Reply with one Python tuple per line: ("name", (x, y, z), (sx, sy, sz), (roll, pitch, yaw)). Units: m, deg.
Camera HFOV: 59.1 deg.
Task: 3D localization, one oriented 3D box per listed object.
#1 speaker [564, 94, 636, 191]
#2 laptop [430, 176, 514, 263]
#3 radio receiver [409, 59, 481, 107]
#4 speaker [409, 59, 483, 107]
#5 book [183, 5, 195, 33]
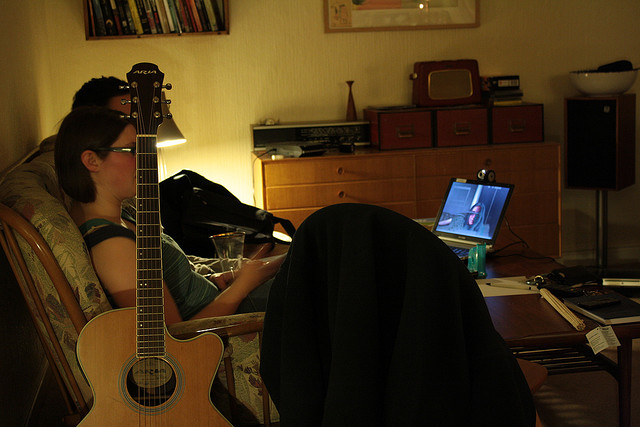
("speaker", (2.106, -0.520, 4.149), (0.554, 0.686, 0.214), (-5, 12, -3))
("laptop", (0.689, -0.003, 2.866), (0.507, 0.349, 0.514), (7, 7, -11))
("radio receiver", (0.957, -0.964, 4.251), (0.559, 0.426, 0.328), (-2, 6, -2))
("speaker", (0.956, -0.971, 4.219), (0.569, 0.407, 0.333), (-2, 7, -4))
("book", (-0.959, -1.423, 4.119), (0.021, 0.191, 0.053), (5, 15, 40))
